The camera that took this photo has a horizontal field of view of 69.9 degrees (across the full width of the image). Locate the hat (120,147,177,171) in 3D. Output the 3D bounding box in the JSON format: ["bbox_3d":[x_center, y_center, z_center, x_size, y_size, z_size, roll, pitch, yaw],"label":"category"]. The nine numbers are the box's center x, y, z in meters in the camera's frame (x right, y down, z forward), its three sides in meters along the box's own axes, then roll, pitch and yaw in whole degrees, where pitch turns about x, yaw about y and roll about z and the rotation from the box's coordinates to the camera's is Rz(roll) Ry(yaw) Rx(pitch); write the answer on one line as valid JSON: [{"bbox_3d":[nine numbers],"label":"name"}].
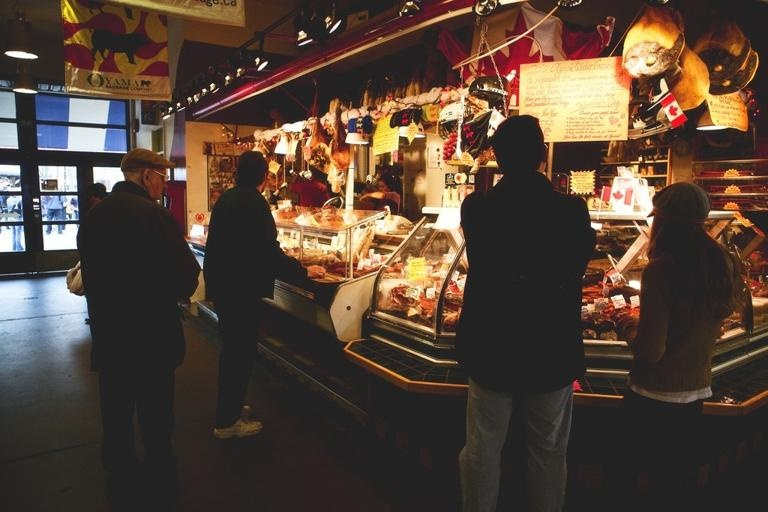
[{"bbox_3d":[-1.835,-0.743,4.263,0.324,0.123,0.277,-4,6,-34],"label":"hat"}]

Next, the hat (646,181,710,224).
[{"bbox_3d":[2.144,-0.406,3.910,0.442,0.208,0.317,16,21,2],"label":"hat"}]

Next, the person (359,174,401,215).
[{"bbox_3d":[-0.005,-0.989,8.735,0.719,0.735,0.593,-1,3,-21],"label":"person"}]

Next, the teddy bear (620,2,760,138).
[{"bbox_3d":[2.746,-1.628,4.945,1.544,1.070,0.719,-5,9,-39],"label":"teddy bear"}]

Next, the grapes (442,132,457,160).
[{"bbox_3d":[0.607,-1.014,4.997,0.119,0.258,0.234,2,7,4],"label":"grapes"}]
